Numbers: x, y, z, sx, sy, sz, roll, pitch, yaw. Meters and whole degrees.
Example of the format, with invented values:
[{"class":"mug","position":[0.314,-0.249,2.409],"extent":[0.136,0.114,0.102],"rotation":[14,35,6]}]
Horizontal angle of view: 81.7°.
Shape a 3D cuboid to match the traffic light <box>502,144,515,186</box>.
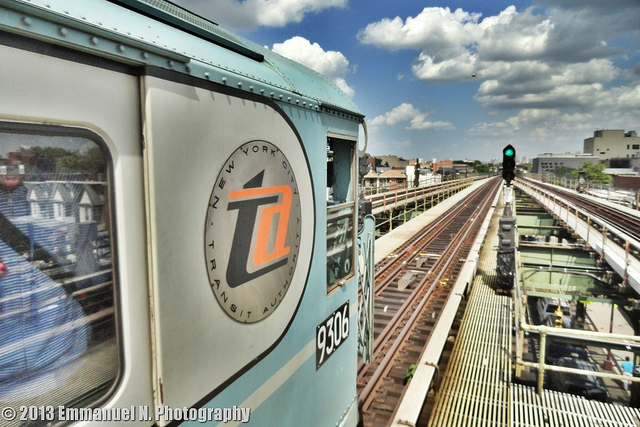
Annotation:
[{"class":"traffic light","position":[5.897,-1.465,11.604],"extent":[0.423,1.198,0.791],"rotation":[13,13,26]}]
